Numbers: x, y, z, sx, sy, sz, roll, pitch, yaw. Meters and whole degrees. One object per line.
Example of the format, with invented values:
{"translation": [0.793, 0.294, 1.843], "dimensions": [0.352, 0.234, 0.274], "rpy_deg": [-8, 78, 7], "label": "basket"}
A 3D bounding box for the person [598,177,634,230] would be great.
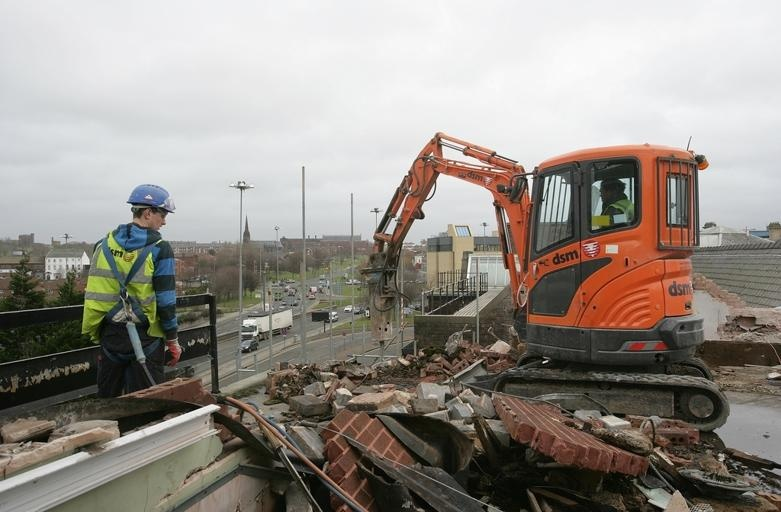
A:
{"translation": [3.559, -0.870, 8.034], "dimensions": [0.512, 0.788, 0.854], "rpy_deg": [1, 8, 37], "label": "person"}

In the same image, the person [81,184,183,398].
{"translation": [-3.046, 0.400, 5.948], "dimensions": [0.999, 1.836, 0.572], "rpy_deg": [-2, 1, -25], "label": "person"}

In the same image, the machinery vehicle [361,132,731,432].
{"translation": [2.211, 0.276, 12.352], "dimensions": [9.782, 6.724, 4.059], "rpy_deg": [0, 1, 30], "label": "machinery vehicle"}
